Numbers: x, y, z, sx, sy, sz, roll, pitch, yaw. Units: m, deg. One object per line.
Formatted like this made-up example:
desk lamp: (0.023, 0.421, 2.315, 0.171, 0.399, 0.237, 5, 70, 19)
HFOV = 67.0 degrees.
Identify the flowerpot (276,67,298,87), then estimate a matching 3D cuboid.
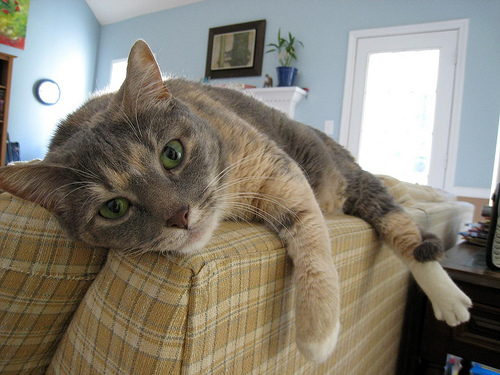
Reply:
flowerpot: (0.391, -1.173, 4.087, 0.195, 0.179, 0.202, -4, -4, 35)

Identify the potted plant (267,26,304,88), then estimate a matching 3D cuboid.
potted plant: (0.396, -1.377, 4.082, 0.346, 0.584, 0.448, 2, 13, 8)
